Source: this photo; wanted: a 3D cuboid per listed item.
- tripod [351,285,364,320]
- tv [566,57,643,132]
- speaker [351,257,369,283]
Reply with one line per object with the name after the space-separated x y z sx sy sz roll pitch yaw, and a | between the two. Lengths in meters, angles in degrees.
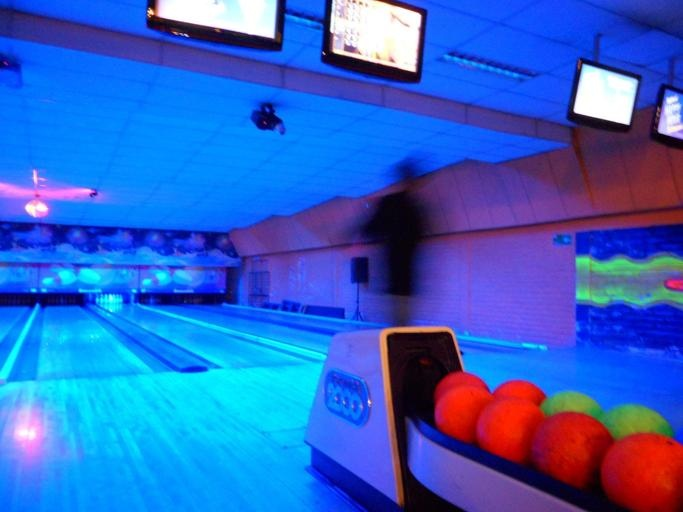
0.283 0.883 8.076 0.165 0.669 0.493 1 -6 0 | tripod
1.605 -0.973 2.732 0.511 0.374 0.048 6 8 -16 | tv
0.297 0.272 7.675 0.385 0.448 0.398 -2 -4 17 | speaker
